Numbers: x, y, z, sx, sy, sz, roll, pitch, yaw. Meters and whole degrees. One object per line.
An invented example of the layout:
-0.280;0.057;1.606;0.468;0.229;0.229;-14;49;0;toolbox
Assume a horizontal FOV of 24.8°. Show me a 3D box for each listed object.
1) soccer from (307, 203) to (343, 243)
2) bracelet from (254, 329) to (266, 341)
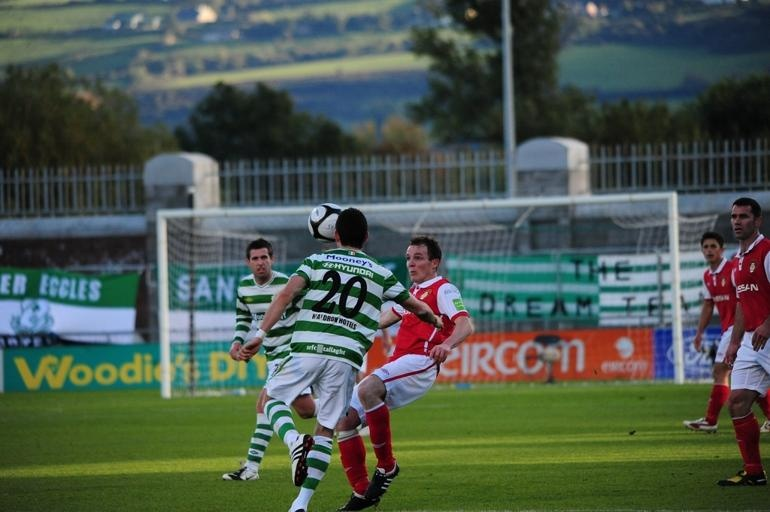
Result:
-1.053;-0.612;32.460;0.628;0.660;0.647;-11;-12;41;soccer
-2.205;1.391;31.801;0.171;0.180;0.172;35;-26;-30;bracelet
